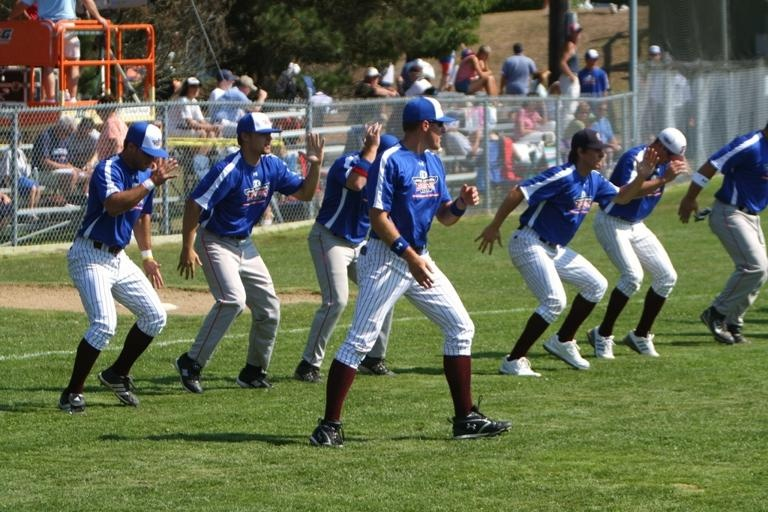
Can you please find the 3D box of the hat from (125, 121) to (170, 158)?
[{"bbox_3d":[-2.737,-1.343,16.995,0.527,0.288,0.344,30,24,7],"label":"hat"}]

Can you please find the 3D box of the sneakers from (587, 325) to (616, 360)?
[{"bbox_3d":[2.846,1.115,18.962,0.234,0.491,0.239,-30,-3,40],"label":"sneakers"}]

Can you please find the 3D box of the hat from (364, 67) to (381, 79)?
[{"bbox_3d":[-0.221,-3.636,29.123,0.428,0.234,0.406,0,12,5],"label":"hat"}]

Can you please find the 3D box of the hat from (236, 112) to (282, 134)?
[{"bbox_3d":[-1.524,-1.580,17.373,0.406,0.185,0.268,5,16,4],"label":"hat"}]

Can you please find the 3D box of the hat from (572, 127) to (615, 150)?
[{"bbox_3d":[2.541,-1.432,17.934,0.394,0.196,0.263,6,22,2],"label":"hat"}]

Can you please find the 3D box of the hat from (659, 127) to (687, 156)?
[{"bbox_3d":[3.739,-1.480,19.117,0.347,0.361,0.679,-1,6,10],"label":"hat"}]

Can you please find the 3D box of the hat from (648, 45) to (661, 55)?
[{"bbox_3d":[5.921,-4.467,32.039,0.228,0.212,0.296,17,31,36],"label":"hat"}]

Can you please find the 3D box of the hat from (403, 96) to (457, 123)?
[{"bbox_3d":[0.485,-1.606,16.286,0.490,0.218,0.297,-3,19,-7],"label":"hat"}]

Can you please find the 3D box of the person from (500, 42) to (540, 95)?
[{"bbox_3d":[2.787,-3.541,30.188,0.719,1.635,0.606,4,27,7],"label":"person"}]

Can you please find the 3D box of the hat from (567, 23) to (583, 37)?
[{"bbox_3d":[4.001,-4.603,29.948,0.340,0.162,0.232,-22,39,-19],"label":"hat"}]

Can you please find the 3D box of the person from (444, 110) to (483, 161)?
[{"bbox_3d":[1.531,-2.360,27.693,0.339,0.868,0.674,9,6,-18],"label":"person"}]

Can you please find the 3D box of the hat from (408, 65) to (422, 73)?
[{"bbox_3d":[0.589,-3.466,27.110,0.223,0.117,0.221,-2,6,1],"label":"hat"}]

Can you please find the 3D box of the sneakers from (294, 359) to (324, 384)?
[{"bbox_3d":[-0.922,1.409,17.956,0.459,0.278,0.152,3,2,0],"label":"sneakers"}]

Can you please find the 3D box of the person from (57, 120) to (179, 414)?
[{"bbox_3d":[-3.079,0.101,17.020,1.376,3.274,0.935,-5,7,-20],"label":"person"}]

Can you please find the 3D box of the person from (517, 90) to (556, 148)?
[{"bbox_3d":[2.965,-2.648,28.686,0.914,1.130,0.710,5,13,27],"label":"person"}]

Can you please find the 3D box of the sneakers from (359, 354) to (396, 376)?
[{"bbox_3d":[-0.022,1.358,18.270,0.552,0.232,0.174,3,0,1],"label":"sneakers"}]

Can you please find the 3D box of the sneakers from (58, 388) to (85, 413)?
[{"bbox_3d":[-3.580,1.662,16.908,0.162,0.160,0.359,0,7,-38],"label":"sneakers"}]

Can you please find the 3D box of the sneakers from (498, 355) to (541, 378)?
[{"bbox_3d":[1.678,1.354,18.153,0.485,0.194,0.218,4,4,1],"label":"sneakers"}]

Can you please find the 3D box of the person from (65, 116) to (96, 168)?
[{"bbox_3d":[-5.031,-1.893,24.494,0.271,0.724,0.593,16,5,26],"label":"person"}]

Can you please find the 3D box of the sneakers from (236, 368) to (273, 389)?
[{"bbox_3d":[-1.580,1.451,17.803,0.490,0.204,0.184,11,8,-11],"label":"sneakers"}]

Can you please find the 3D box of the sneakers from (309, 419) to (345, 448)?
[{"bbox_3d":[-0.605,1.937,16.093,0.443,0.269,0.207,4,8,-20],"label":"sneakers"}]
